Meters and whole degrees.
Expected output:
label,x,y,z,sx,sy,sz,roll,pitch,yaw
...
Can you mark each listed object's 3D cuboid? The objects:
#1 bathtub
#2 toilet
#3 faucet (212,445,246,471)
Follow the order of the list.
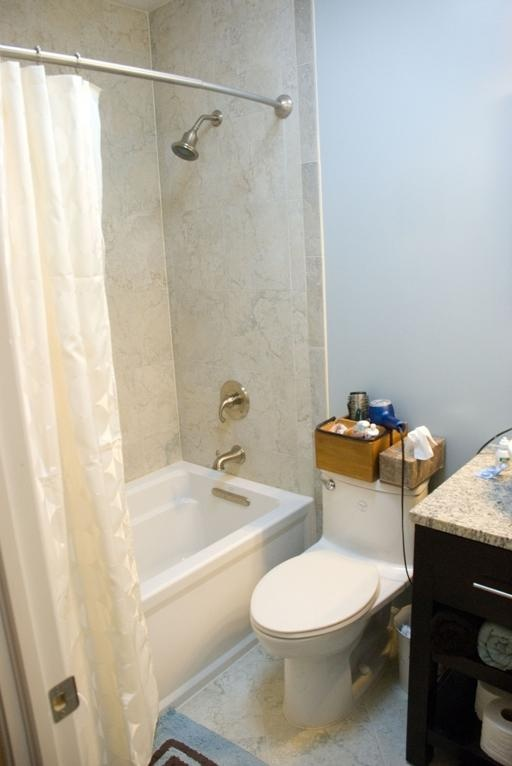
label,x,y,z,sx,sy,sz,roll,pitch,yaw
bathtub,-0.187,0.671,2.192,0.532,0.335,0.734,9,15,35
toilet,0.263,0.648,1.862,0.375,0.715,0.626,9,22,39
faucet,-0.121,0.330,2.546,0.084,0.092,0.152,0,7,33
